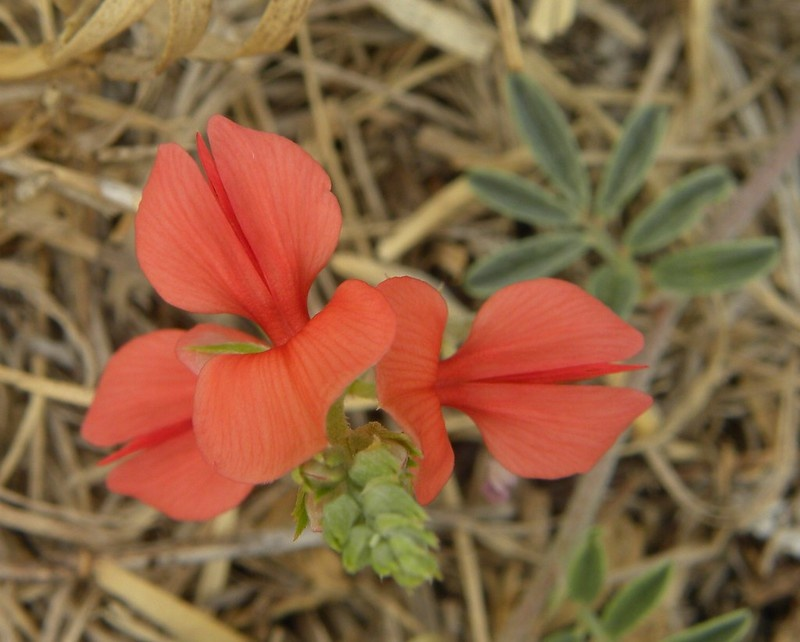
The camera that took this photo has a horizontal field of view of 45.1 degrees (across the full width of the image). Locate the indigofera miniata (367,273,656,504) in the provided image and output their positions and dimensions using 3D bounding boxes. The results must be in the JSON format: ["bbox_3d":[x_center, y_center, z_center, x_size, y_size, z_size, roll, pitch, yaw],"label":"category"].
[{"bbox_3d":[0.121,0.058,1.048,0.292,0.125,0.240,-9,82,-3],"label":"indigofera miniata"}]
